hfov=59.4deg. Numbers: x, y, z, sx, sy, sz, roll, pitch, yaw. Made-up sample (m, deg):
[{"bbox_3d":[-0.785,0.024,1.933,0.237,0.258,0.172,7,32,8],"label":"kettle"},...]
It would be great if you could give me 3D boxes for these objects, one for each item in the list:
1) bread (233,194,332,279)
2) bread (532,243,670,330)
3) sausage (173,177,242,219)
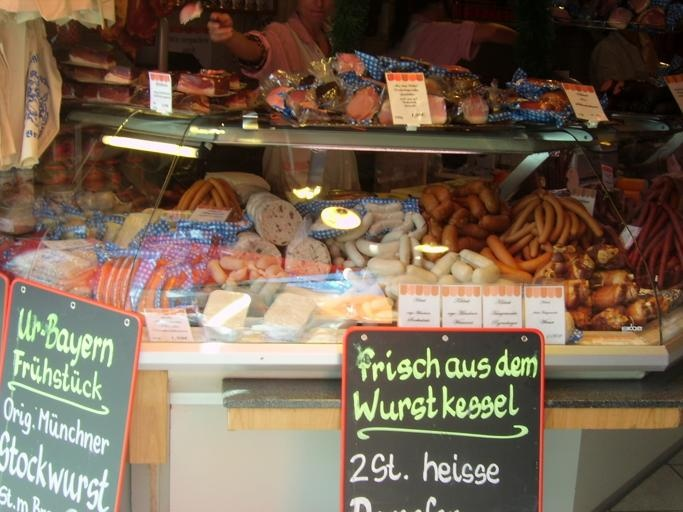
[{"bbox_3d":[-0.203,-0.069,2.157,0.186,0.230,0.348,-20,27,-38],"label":"bread"},{"bbox_3d":[0.904,0.127,2.150,0.391,0.284,0.134,19,-20,1],"label":"bread"},{"bbox_3d":[-0.476,-0.199,2.185,0.164,0.055,0.182,31,31,-5],"label":"sausage"}]
